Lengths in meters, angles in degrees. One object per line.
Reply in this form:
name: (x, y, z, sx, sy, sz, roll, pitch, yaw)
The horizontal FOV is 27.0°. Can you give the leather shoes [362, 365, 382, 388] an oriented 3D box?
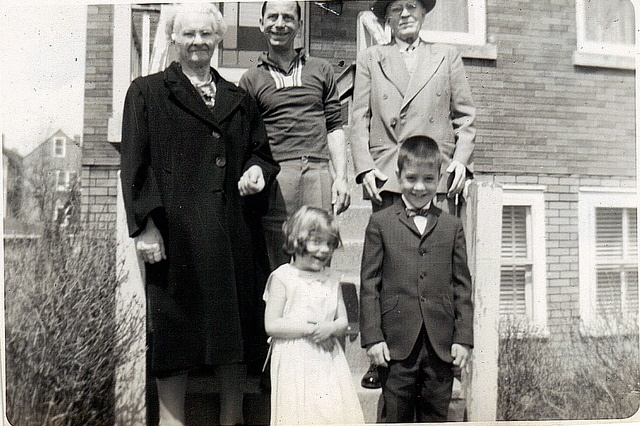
leather shoes: (0.282, 0.878, 7.144, 0.114, 0.127, 0.113, 3, -7, -4)
